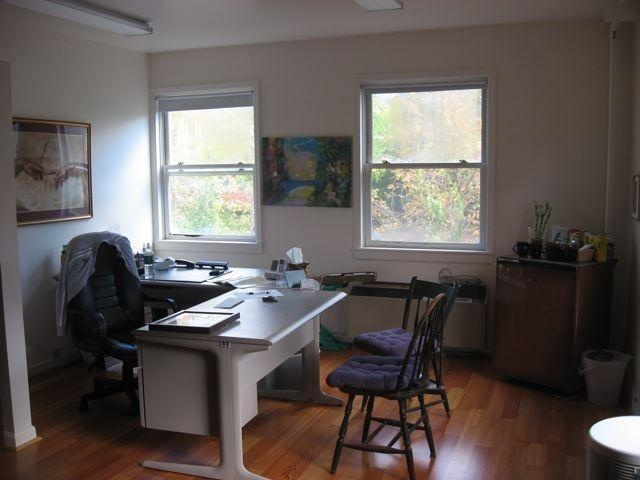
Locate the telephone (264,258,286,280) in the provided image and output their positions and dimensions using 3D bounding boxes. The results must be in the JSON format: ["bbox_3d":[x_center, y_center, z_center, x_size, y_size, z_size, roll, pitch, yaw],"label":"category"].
[{"bbox_3d":[-0.388,0.249,4.278,0.190,0.183,0.043,6,-6,41],"label":"telephone"}]

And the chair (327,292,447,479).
[{"bbox_3d":[0.428,0.857,3.772,1.008,1.677,0.888,3,5,21],"label":"chair"}]

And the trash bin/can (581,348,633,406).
[{"bbox_3d":[2.191,1.072,3.908,0.398,0.404,0.370,1,2,20],"label":"trash bin/can"}]

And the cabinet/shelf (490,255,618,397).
[{"bbox_3d":[1.942,0.621,4.659,1.022,1.517,0.990,-3,5,-22],"label":"cabinet/shelf"}]

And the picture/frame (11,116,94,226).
[{"bbox_3d":[-2.516,-0.644,4.573,0.038,0.771,0.998,5,12,24],"label":"picture/frame"}]
